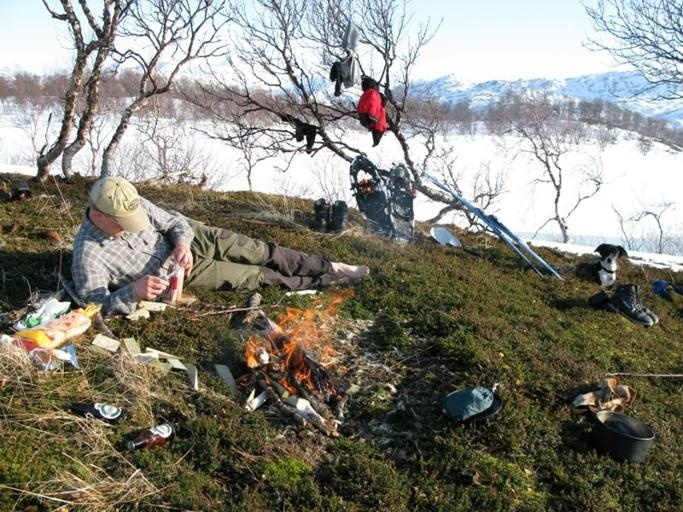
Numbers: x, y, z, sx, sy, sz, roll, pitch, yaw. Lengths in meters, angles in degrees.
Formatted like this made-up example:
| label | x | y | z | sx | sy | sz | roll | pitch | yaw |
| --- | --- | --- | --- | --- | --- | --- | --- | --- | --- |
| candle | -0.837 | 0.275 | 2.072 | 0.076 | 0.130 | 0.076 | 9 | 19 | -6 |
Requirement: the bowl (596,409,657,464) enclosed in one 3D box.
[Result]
| label | x | y | z | sx | sy | sz | roll | pitch | yaw |
| --- | --- | --- | --- | --- | --- | --- | --- | --- | --- |
| bowl | 3.537 | 2.240 | 6.864 | 0.463 | 0.311 | 0.473 | 10 | 20 | -4 |

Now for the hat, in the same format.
| label | x | y | z | sx | sy | sz | roll | pitch | yaw |
| --- | --- | --- | --- | --- | --- | --- | --- | --- | --- |
| hat | -2.857 | -0.704 | 7.325 | 0.368 | 0.798 | 0.564 | -31 | 15 | 42 |

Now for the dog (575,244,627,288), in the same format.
| label | x | y | z | sx | sy | sz | roll | pitch | yaw |
| --- | --- | --- | --- | --- | --- | --- | --- | --- | --- |
| dog | 5.176 | 0.207 | 11.001 | 0.534 | 0.973 | 1.232 | 2 | 10 | 11 |

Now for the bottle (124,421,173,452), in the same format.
| label | x | y | z | sx | sy | sz | roll | pitch | yaw |
| --- | --- | --- | --- | --- | --- | --- | --- | --- | --- |
| bottle | -2.163 | 2.077 | 6.435 | 0.570 | 0.209 | 0.191 | -13 | -18 | -41 |

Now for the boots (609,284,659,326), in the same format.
| label | x | y | z | sx | sy | sz | roll | pitch | yaw |
| --- | --- | --- | --- | --- | --- | --- | --- | --- | --- |
| boots | 4.951 | 0.817 | 9.502 | 0.751 | 0.598 | 0.374 | 13 | 17 | 33 |

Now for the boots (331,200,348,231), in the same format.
| label | x | y | z | sx | sy | sz | roll | pitch | yaw |
| --- | --- | --- | --- | --- | --- | --- | --- | --- | --- |
| boots | -0.034 | -0.805 | 11.246 | 0.290 | 0.608 | 0.189 | 8 | 6 | 19 |
